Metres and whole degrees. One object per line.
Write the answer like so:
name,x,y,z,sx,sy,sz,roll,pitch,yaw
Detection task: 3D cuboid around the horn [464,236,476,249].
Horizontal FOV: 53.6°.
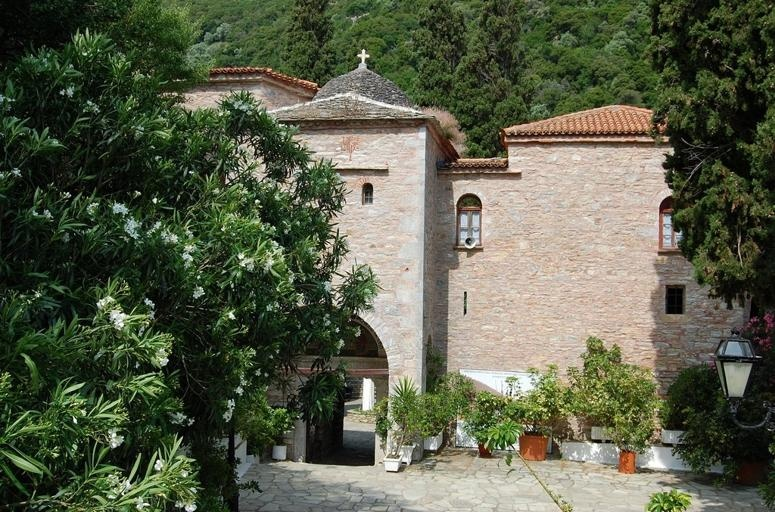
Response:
horn,2.421,-0.389,22.120,0.350,0.330,0.167,0,0,4

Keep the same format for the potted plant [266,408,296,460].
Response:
potted plant,-2.775,4.711,20.253,0.954,1.378,1.055,-7,-16,7
